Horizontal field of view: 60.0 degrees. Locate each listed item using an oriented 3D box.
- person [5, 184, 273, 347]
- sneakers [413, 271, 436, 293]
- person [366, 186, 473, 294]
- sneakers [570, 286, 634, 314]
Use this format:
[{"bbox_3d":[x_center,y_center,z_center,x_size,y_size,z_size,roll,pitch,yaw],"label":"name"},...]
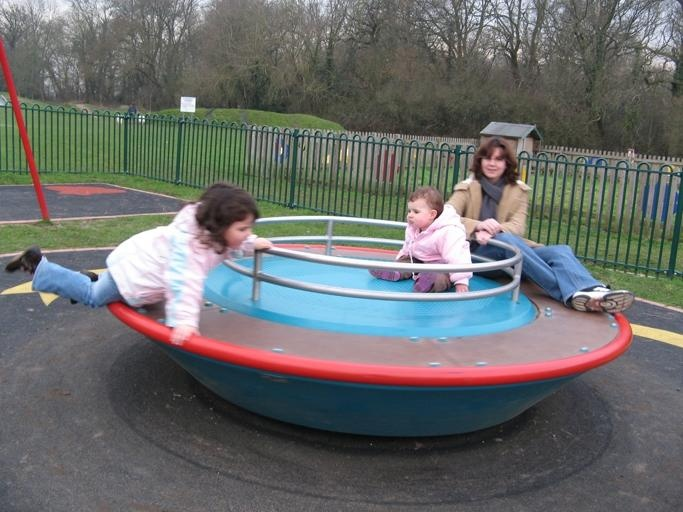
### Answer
[{"bbox_3d":[-1.183,-0.043,3.627,1.395,0.879,0.651,11,16,28],"label":"person"},{"bbox_3d":[0.570,0.176,4.065,0.137,0.120,0.095,9,16,24],"label":"sneakers"},{"bbox_3d":[0.644,-0.108,4.112,0.448,0.712,0.834,-7,17,-33],"label":"person"},{"bbox_3d":[1.755,0.300,3.980,0.390,0.186,0.201,1,22,25],"label":"sneakers"}]
